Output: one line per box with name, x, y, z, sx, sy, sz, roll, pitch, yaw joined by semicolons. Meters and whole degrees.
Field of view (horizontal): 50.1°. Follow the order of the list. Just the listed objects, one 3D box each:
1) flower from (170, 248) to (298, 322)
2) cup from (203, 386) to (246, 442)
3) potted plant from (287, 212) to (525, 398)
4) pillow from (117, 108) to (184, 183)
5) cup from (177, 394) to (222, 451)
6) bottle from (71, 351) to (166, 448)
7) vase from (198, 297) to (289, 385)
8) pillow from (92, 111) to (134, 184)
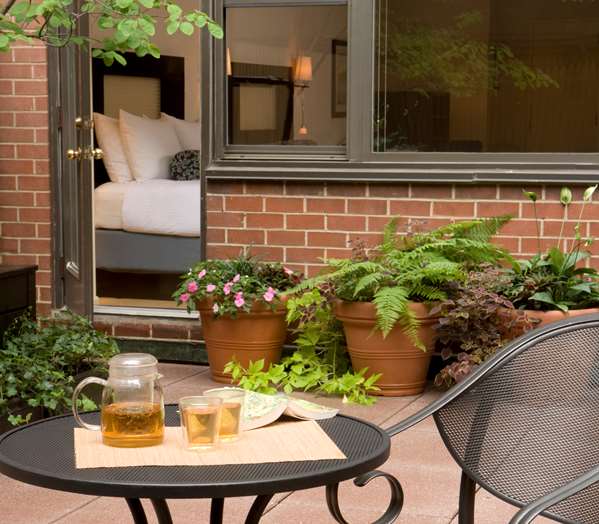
flower;-0.369;0.094;3.732;0.548;0.379;0.440;0;8;10
cup;-0.122;0.254;1.113;0.065;0.086;0.068;6;10;-1
potted plant;0.622;0.145;3.436;1.107;0.776;1.011;-1;-1;17
pillow;-1.353;-1.064;5.877;0.363;0.650;0.686;8;17;28
cup;-0.160;0.257;1.042;0.078;0.091;0.079;0;-2;0
bottle;-0.306;0.224;1.136;0.115;0.184;0.140;7;12;31
vase;-0.328;0.458;3.669;0.506;0.517;0.231;2;4;-1
pillow;-1.700;-1.031;5.810;0.174;0.604;0.550;-15;-4;3
